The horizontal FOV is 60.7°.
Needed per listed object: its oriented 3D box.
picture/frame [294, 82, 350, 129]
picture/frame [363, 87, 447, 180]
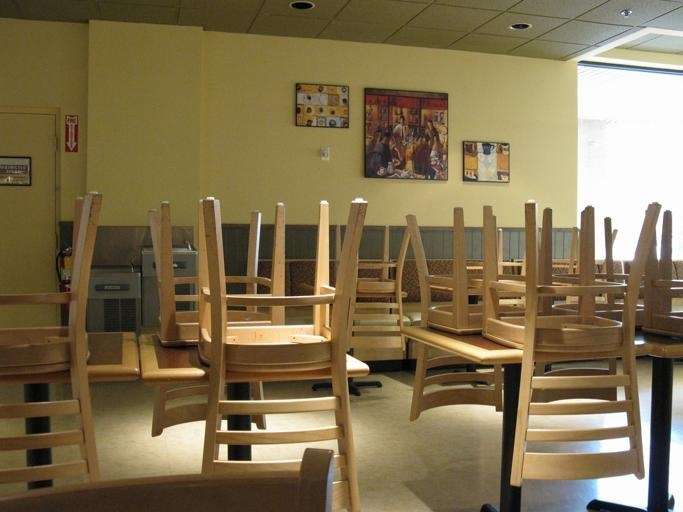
[{"bbox_3d":[-0.241,-1.694,6.554,0.512,0.401,0.020,1,-1,-13],"label":"picture/frame"},{"bbox_3d":[0.701,-1.425,6.756,1.034,1.101,0.047,0,2,-10],"label":"picture/frame"}]
